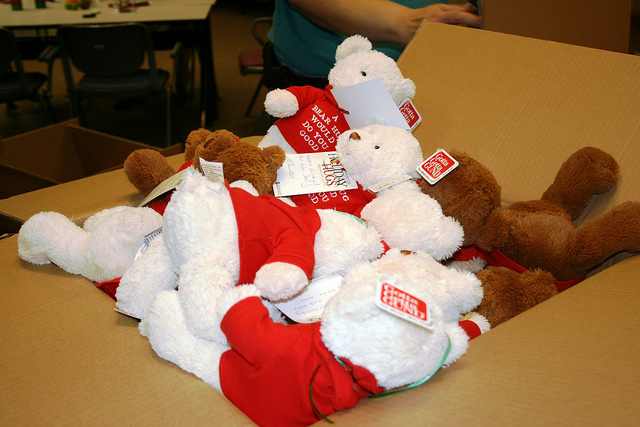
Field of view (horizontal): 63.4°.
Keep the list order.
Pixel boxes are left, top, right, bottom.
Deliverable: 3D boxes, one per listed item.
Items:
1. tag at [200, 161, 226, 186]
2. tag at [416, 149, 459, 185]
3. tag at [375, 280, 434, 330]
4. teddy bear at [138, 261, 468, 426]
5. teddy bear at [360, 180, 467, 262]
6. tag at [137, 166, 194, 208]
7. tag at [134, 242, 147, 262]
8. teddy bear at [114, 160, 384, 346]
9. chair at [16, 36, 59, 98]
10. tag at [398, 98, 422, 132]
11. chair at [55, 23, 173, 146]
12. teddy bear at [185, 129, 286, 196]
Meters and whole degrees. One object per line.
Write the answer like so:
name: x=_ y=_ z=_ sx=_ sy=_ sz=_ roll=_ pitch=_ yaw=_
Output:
tag: x=-0.255 y=-0.097 z=1.244 sx=0.077 sy=0.058 sz=0.008 roll=17 pitch=28 yaw=40
tag: x=0.311 y=-0.123 z=1.366 sx=0.098 sy=0.025 sz=0.081 roll=-39 pitch=71 yaw=0
tag: x=0.168 y=0.181 z=1.040 sx=0.126 sy=0.017 sz=0.073 roll=22 pitch=48 yaw=-9
teddy bear: x=-0.059 y=0.275 z=1.086 sx=0.742 sy=0.277 sz=0.217 roll=5 pitch=37 yaw=6
teddy bear: x=0.258 y=-0.049 z=1.473 sx=0.259 sy=0.131 sz=0.315 roll=-4 pitch=18 yaw=10
tag: x=-0.416 y=-0.072 z=1.389 sx=0.022 sy=0.277 sz=0.048 roll=1 pitch=65 yaw=-50
tag: x=-0.459 y=0.099 z=1.340 sx=0.007 sy=0.035 sz=0.036 roll=27 pitch=64 yaw=-29
teddy bear: x=-0.170 y=0.046 z=1.315 sx=0.709 sy=0.293 sz=0.510 roll=-9 pitch=32 yaw=-35
chair: x=-1.791 y=-0.845 z=3.206 sx=0.217 sy=0.276 sz=0.198 roll=-20 pitch=34 yaw=-9
tag: x=0.279 y=-0.309 z=1.624 sx=0.073 sy=0.101 sz=0.023 roll=-34 pitch=11 yaw=11
chair: x=-1.126 y=-0.853 z=2.812 sx=0.525 sy=0.385 sz=0.218 roll=-5 pitch=37 yaw=-7
teddy bear: x=-0.264 y=-0.127 z=1.485 sx=0.270 sy=0.114 sz=0.201 roll=26 pitch=46 yaw=12
